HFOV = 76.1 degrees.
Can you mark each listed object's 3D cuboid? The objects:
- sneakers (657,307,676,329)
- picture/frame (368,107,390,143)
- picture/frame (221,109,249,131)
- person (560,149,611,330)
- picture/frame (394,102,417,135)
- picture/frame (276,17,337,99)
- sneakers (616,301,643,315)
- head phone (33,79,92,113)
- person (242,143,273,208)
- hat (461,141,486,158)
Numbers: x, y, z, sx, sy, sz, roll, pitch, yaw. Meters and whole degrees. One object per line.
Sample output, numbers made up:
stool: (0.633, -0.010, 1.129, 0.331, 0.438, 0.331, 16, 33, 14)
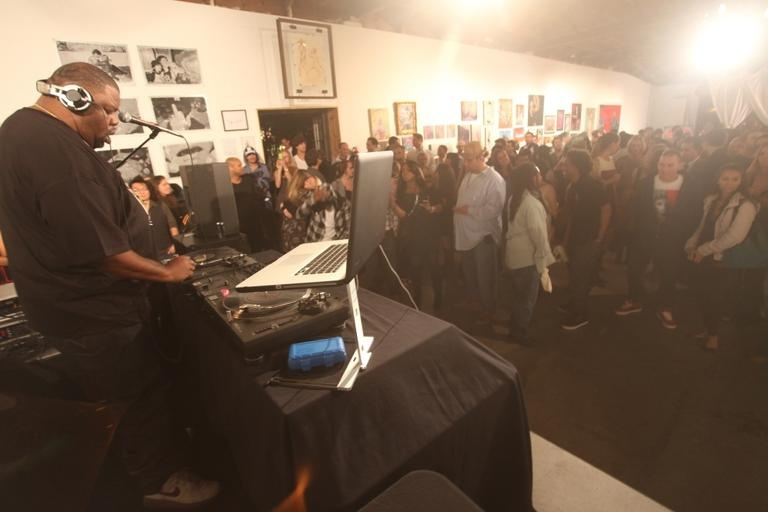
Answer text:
sneakers: (2.648, 0.583, 4.564, 0.141, 0.122, 0.187, -7, 19, -13)
picture/frame: (-0.119, -2.032, 7.530, 0.084, 0.608, 0.612, 4, 14, 43)
picture/frame: (-1.894, -1.693, 6.060, 0.026, 0.198, 0.271, 10, 22, 44)
person: (1.912, -0.207, 4.706, 0.448, 1.570, 0.969, 4, 20, 21)
picture/frame: (0.380, -2.272, 8.029, 0.090, 0.518, 0.553, -9, 18, -28)
picture/frame: (-1.084, -2.627, 6.487, 0.107, 1.024, 1.043, 15, 26, 41)
sneakers: (2.374, 0.517, 4.809, 0.286, 0.122, 0.105, -7, 30, 15)
head phone: (-1.729, -0.864, 2.616, 0.229, 0.105, 0.177, 25, 27, 4)
person: (-1.641, -0.830, 6.214, 0.405, 1.122, 0.304, -6, -12, -13)
hat: (0.839, -1.004, 4.610, 0.185, 0.150, 0.130, -3, 19, 0)
